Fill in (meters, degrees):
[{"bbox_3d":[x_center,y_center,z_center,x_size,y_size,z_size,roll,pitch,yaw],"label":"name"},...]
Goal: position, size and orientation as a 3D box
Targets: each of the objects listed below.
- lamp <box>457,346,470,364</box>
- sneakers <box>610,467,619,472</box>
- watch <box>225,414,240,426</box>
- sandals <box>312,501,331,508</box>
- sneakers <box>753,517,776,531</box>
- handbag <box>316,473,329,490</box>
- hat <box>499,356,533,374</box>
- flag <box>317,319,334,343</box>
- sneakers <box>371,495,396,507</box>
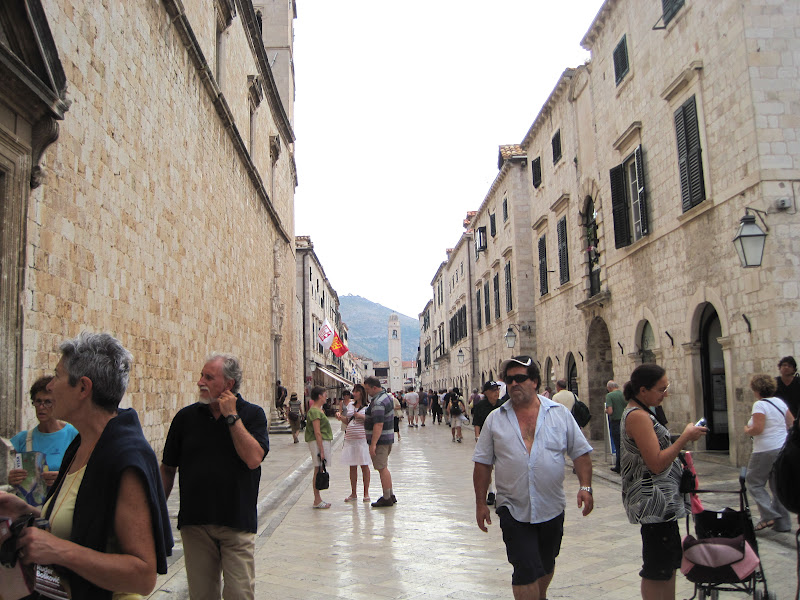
[{"bbox_3d":[3.903,3.413,39.609,0.840,1.451,1.050,1,33,2],"label":"lamp"},{"bbox_3d":[4.187,3.349,12.613,0.121,0.125,0.535,-5,-16,13],"label":"sneakers"},{"bbox_3d":[-1.153,0.822,4.406,0.086,0.058,0.083,-35,-16,-20],"label":"watch"},{"bbox_3d":[-1.199,3.155,9.847,0.174,0.077,0.104,0,0,-13],"label":"sandals"},{"bbox_3d":[4.185,2.623,7.474,0.306,0.098,0.122,-13,-7,-6],"label":"sneakers"},{"bbox_3d":[-1.172,2.698,9.544,0.221,0.279,0.133,2,-8,-12],"label":"handbag"},{"bbox_3d":[0.911,0.495,4.935,0.184,0.149,0.319,-6,-16,25],"label":"hat"},{"bbox_3d":[-4.378,1.786,36.841,0.239,1.320,1.761,-14,18,15],"label":"flag"},{"bbox_3d":[-0.261,3.110,9.914,0.393,0.184,0.152,-7,-6,1],"label":"sneakers"}]
